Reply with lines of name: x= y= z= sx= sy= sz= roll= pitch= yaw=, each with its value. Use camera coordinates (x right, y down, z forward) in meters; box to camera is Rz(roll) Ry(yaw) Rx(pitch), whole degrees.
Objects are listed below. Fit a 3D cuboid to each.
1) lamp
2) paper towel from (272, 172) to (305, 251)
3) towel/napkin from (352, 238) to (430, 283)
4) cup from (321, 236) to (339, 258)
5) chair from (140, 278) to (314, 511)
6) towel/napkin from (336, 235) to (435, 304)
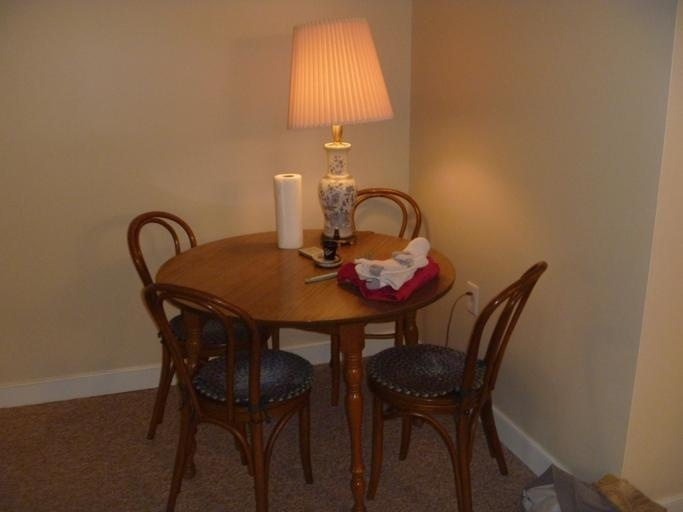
lamp: x=-0.010 y=-0.538 z=2.632 sx=0.463 sy=0.946 sz=0.260 roll=0 pitch=16 yaw=4
paper towel: x=-0.237 y=-0.203 z=2.668 sx=0.121 sy=0.321 sz=0.133 roll=2 pitch=15 yaw=11
towel/napkin: x=0.219 y=0.035 z=2.265 sx=0.202 sy=0.086 sz=0.173 roll=-20 pitch=24 yaw=-36
cup: x=-0.046 y=-0.037 z=2.478 sx=0.072 sy=0.089 sz=0.083 roll=1 pitch=3 yaw=1
chair: x=-0.405 y=0.503 z=2.325 sx=0.594 sy=1.007 sz=0.574 roll=-3 pitch=16 yaw=-4
towel/napkin: x=0.214 y=0.063 z=2.253 sx=0.211 sy=0.109 sz=0.272 roll=19 pitch=25 yaw=40
